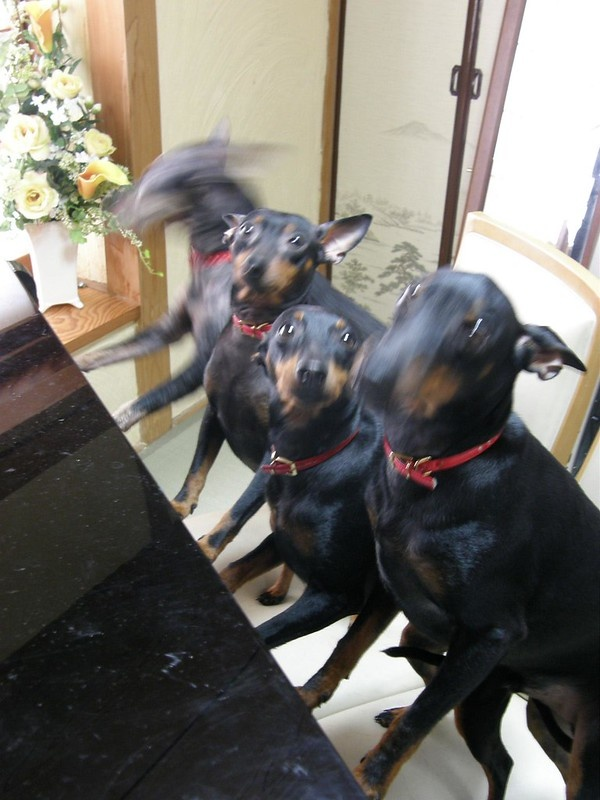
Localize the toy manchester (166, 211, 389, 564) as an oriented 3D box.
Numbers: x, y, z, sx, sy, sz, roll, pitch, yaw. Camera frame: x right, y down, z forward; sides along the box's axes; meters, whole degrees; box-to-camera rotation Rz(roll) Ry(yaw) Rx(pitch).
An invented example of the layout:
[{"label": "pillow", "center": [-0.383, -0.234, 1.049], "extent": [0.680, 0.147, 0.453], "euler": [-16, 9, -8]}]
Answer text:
[{"label": "toy manchester", "center": [-0.004, -0.007, 0.648], "extent": [0.125, 0.275, 0.395], "euler": [20, 3, 22]}]

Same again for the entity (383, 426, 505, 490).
[{"label": "entity", "center": [0.077, 0.031, 0.378], "extent": [0.047, 0.014, 0.041], "euler": [-10, -4, -33]}]

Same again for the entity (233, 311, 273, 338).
[{"label": "entity", "center": [-0.038, -0.061, 0.503], "extent": [0.029, 0.012, 0.020], "euler": [19, -11, 45]}]
